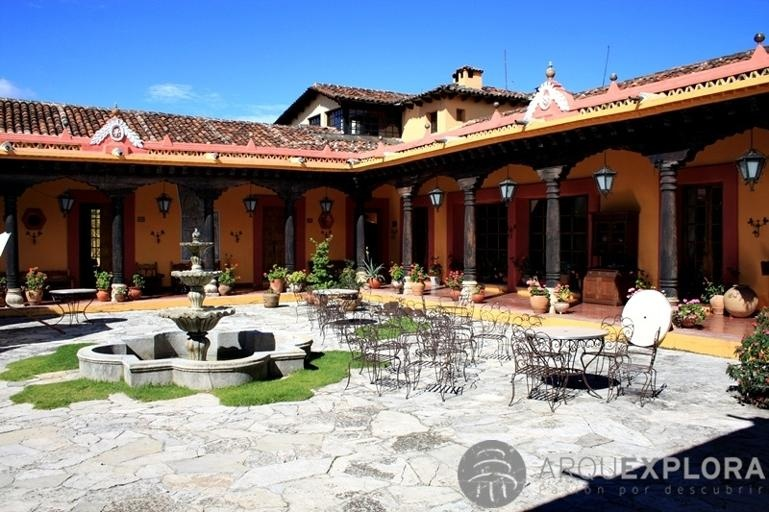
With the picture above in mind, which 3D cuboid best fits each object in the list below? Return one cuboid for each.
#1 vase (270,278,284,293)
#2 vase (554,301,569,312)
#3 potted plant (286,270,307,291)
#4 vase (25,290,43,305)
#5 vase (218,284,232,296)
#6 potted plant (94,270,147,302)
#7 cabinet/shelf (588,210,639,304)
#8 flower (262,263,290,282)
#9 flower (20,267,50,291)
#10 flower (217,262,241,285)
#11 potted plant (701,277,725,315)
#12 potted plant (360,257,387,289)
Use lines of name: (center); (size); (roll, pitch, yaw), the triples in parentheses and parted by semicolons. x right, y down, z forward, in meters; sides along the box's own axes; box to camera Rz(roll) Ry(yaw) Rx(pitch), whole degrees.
vase: (-3.197, 0.882, 16.434); (0.257, 0.434, 0.650); (-2, -2, 26)
vase: (3.821, 1.107, 11.802); (0.250, 0.180, 0.242); (2, 3, 25)
potted plant: (-2.615, 0.762, 16.435); (0.676, 0.572, 0.592); (1, -6, -1)
vase: (-9.028, 1.077, 14.124); (0.413, 0.278, 0.387); (0, -2, -12)
vase: (-4.619, 0.980, 15.864); (0.339, 0.240, 0.323); (0, 4, -11)
potted plant: (-7.252, 0.842, 14.960); (1.162, 0.771, 0.934); (0, -2, -16)
cabinet/shelf: (5.352, 0.051, 13.049); (0.729, 2.052, 1.195); (-1, 2, -25)
flower: (-3.316, 0.551, 16.690); (0.782, 0.521, 0.705); (3, -3, -44)
flower: (-9.161, 0.641, 14.390); (0.673, 0.707, 0.802); (-2, -3, 15)
flower: (-4.690, 0.515, 16.406); (0.802, 0.769, 0.819); (2, -2, -10)
potted plant: (6.884, 0.821, 11.418); (0.482, 0.752, 0.361); (0, -7, 9)
potted plant: (-0.360, 0.612, 17.303); (0.862, 0.748, 0.640); (-5, 3, -10)
